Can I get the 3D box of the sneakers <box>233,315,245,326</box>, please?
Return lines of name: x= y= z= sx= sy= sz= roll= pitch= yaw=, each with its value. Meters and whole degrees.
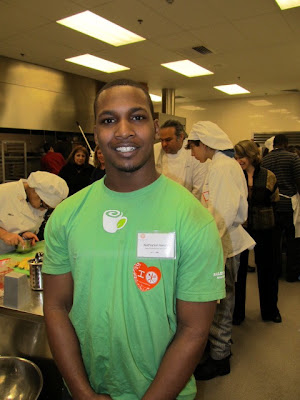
sneakers: x=0.839 y=1.149 z=2.744 sx=0.056 sy=0.067 sz=0.153 roll=-3 pitch=-11 yaw=25

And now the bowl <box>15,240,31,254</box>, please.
bowl: x=-0.850 y=0.303 z=1.932 sx=0.083 sy=0.077 sz=0.093 roll=1 pitch=19 yaw=-8
